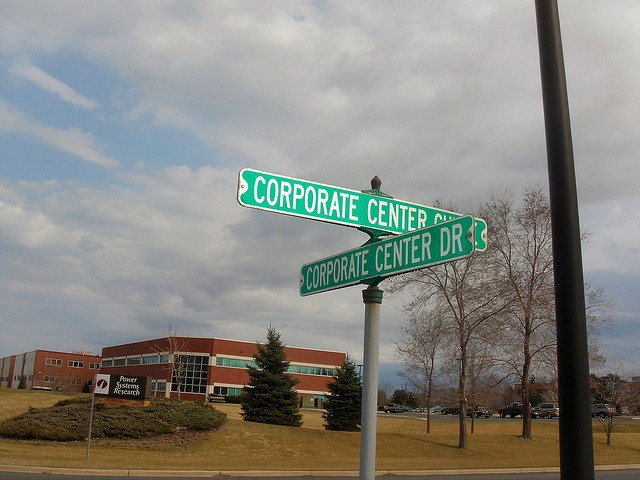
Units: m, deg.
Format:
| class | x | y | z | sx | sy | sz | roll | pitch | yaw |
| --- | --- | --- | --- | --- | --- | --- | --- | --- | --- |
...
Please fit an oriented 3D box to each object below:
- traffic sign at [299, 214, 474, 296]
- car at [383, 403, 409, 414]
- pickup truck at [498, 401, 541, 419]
| class | x | y | z | sx | sy | sz | roll | pitch | yaw |
| --- | --- | --- | --- | --- | --- | --- | --- | --- | --- |
| traffic sign | 0.975 | 0.249 | 9.335 | 2.628 | 1.160 | 0.195 | 0 | -11 | 29 |
| car | 9.218 | 20.760 | 77.078 | 2.412 | 0.888 | 1.284 | -4 | -7 | -1 |
| pickup truck | 19.287 | 16.751 | 61.322 | 3.238 | 1.732 | 4.971 | 8 | -11 | -12 |
